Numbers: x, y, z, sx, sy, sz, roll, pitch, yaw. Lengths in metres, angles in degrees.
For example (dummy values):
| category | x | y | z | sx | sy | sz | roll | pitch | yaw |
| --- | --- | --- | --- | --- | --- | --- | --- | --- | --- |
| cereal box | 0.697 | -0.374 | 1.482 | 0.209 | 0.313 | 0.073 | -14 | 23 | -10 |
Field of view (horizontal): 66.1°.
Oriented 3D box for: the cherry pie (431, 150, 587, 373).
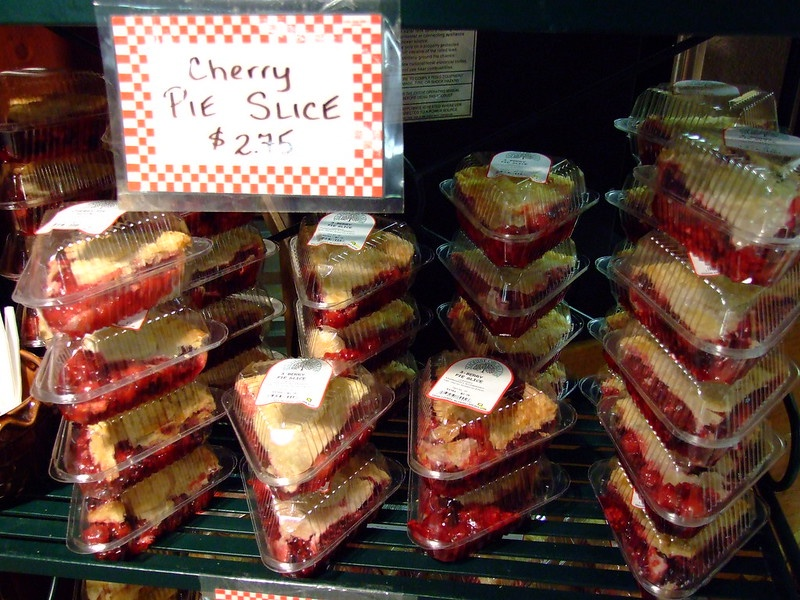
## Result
| category | x | y | z | sx | sy | sz | roll | pitch | yaw |
| --- | --- | --- | --- | --- | --- | --- | --- | --- | --- |
| cherry pie | 0.269 | -0.074 | 1.413 | 0.359 | 0.503 | 0.245 | -2 | 21 | 3 |

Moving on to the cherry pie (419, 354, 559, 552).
| category | x | y | z | sx | sy | sz | roll | pitch | yaw |
| --- | --- | --- | --- | --- | --- | --- | --- | --- | --- |
| cherry pie | 0.169 | 0.347 | 1.330 | 0.335 | 0.248 | 0.267 | -21 | 36 | -20 |

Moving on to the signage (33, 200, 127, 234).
| category | x | y | z | sx | sy | sz | roll | pitch | yaw |
| --- | --- | --- | --- | --- | --- | --- | --- | --- | --- |
| signage | -0.605 | -0.156 | 1.183 | 0.158 | 0.040 | 0.113 | 1 | 24 | 10 |

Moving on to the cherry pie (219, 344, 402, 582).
| category | x | y | z | sx | sy | sz | roll | pitch | yaw |
| --- | --- | --- | --- | --- | --- | --- | --- | --- | --- |
| cherry pie | -0.154 | 0.293 | 1.325 | 0.403 | 0.309 | 0.310 | -24 | 36 | -38 |

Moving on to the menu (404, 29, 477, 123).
| category | x | y | z | sx | sy | sz | roll | pitch | yaw |
| --- | --- | --- | --- | --- | --- | --- | --- | --- | --- |
| menu | 0.096 | -0.531 | 1.468 | 0.181 | 0.210 | 0.074 | -4 | 21 | -4 |

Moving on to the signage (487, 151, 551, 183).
| category | x | y | z | sx | sy | sz | roll | pitch | yaw |
| --- | --- | --- | --- | --- | --- | --- | --- | --- | --- |
| signage | 0.263 | -0.288 | 1.334 | 0.084 | 0.025 | 0.103 | 6 | 39 | 9 |

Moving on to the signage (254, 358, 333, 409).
| category | x | y | z | sx | sy | sz | roll | pitch | yaw |
| --- | --- | --- | --- | --- | --- | --- | --- | --- | --- |
| signage | -0.206 | 0.162 | 1.235 | 0.145 | 0.038 | 0.167 | 9 | 28 | 15 |
